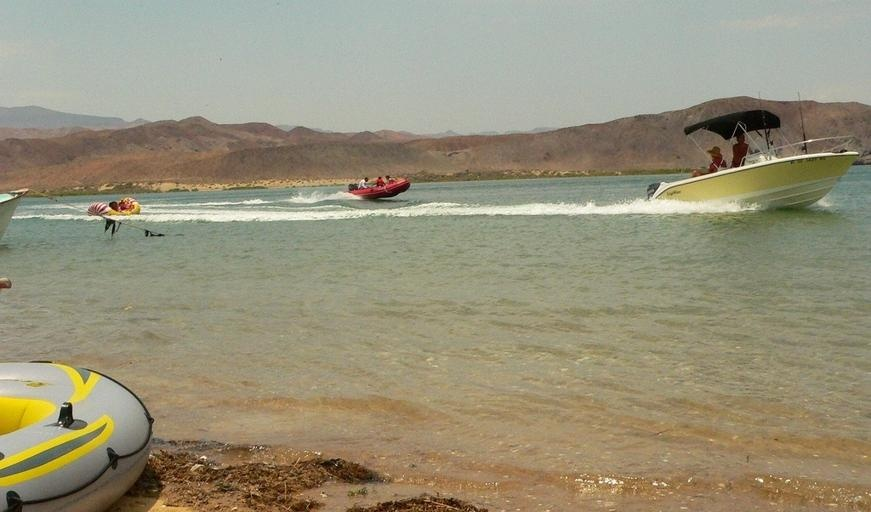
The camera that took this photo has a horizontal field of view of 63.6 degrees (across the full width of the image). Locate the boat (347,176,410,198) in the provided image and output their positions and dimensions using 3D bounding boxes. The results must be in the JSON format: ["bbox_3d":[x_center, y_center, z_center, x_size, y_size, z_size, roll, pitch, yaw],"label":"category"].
[{"bbox_3d":[-3.468,-3.814,40.277,2.975,0.535,1.598,-4,7,33],"label":"boat"}]

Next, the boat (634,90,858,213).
[{"bbox_3d":[11.175,-3.420,24.118,4.534,3.633,5.076,0,6,-5],"label":"boat"}]

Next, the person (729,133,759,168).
[{"bbox_3d":[10.560,-3.593,24.064,0.717,1.158,1.021,3,7,19],"label":"person"}]
